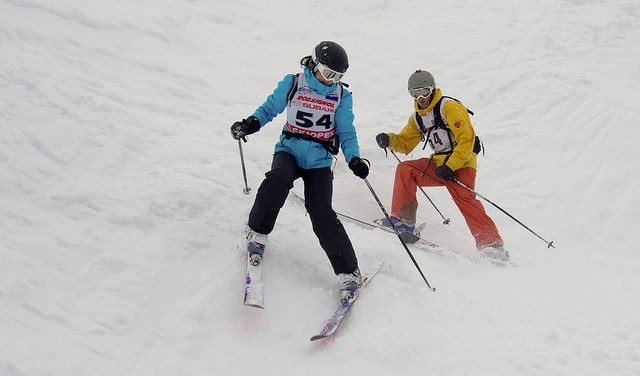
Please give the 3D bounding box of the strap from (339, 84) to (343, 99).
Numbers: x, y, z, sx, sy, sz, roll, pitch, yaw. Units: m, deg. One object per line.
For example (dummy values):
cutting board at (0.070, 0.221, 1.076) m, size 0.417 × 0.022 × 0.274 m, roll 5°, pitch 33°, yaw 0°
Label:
strap at (0.352, -1.611, 11.515) m, size 0.047 × 0.139 × 0.104 m, roll 4°, pitch 7°, yaw -7°

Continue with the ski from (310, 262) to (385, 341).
ski at (0.427, 1.835, 11.048) m, size 0.266 × 0.180 × 1.652 m, roll 26°, pitch 55°, yaw 26°

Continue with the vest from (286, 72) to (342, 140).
vest at (-0.071, -1.341, 11.828) m, size 0.987 × 1.311 × 0.711 m, roll 5°, pitch 6°, yaw -5°

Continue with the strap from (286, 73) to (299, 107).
strap at (-0.433, -1.648, 11.582) m, size 0.270 × 0.376 × 0.132 m, roll 5°, pitch -5°, yaw 12°

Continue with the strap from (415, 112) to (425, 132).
strap at (1.862, -1.255, 13.029) m, size 0.080 × 0.307 × 0.176 m, roll -15°, pitch 6°, yaw -22°

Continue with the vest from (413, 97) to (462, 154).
vest at (2.193, -1.184, 12.869) m, size 0.658 × 1.139 × 0.784 m, roll -40°, pitch 12°, yaw -8°

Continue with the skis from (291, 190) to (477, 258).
skis at (1.104, 0.669, 12.454) m, size 2.271 × 0.251 × 0.175 m, roll 25°, pitch 61°, yaw 12°

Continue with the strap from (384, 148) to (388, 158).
strap at (1.375, -0.734, 14.438) m, size 0.024 × 0.192 × 0.044 m, roll -7°, pitch 2°, yaw -36°
